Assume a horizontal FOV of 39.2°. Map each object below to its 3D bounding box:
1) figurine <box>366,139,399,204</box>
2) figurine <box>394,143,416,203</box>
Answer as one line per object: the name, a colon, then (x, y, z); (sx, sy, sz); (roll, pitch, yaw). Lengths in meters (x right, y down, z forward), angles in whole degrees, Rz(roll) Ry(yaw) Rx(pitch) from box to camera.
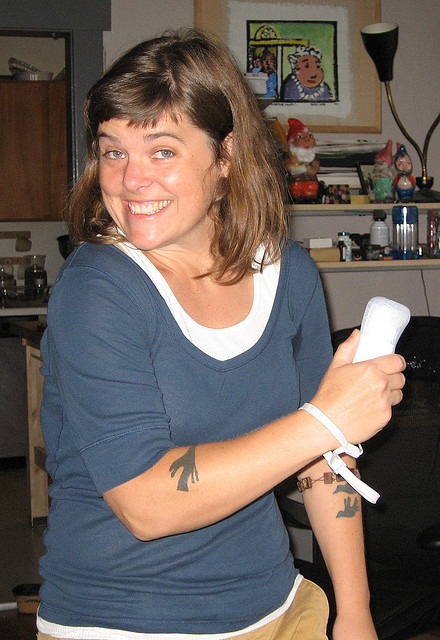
figurine: (0.618, -0.561, 2.335); (0.073, 0.217, 0.112); (-10, 22, -10)
figurine: (0.706, -0.557, 2.367); (0.073, 0.216, 0.207); (1, 10, 16)
